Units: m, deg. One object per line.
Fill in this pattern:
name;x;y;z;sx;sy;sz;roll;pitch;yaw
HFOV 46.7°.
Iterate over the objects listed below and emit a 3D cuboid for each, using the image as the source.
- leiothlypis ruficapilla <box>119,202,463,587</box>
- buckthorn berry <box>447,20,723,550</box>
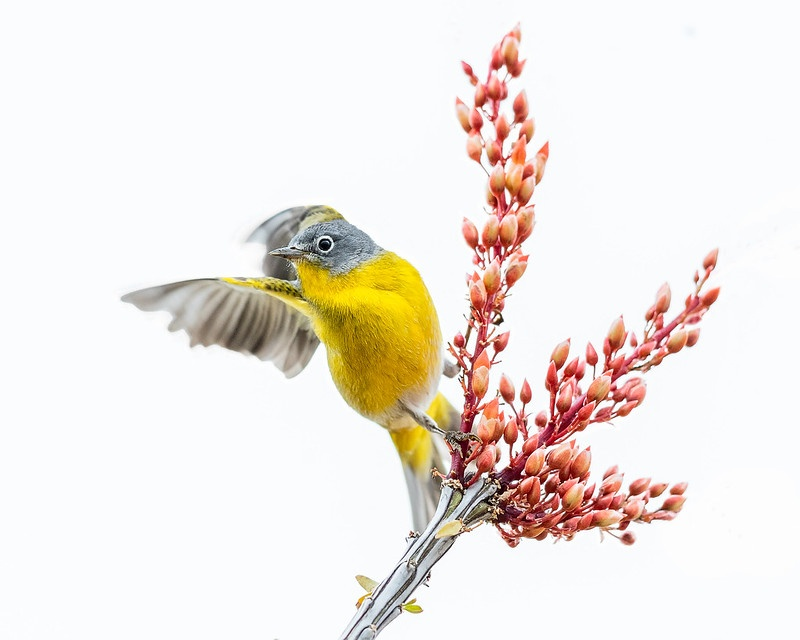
leiothlypis ruficapilla;-0.292;0.110;3.049;1.096;0.829;0.723;22;-46;5
buckthorn berry;0.410;0.147;2.566;0.563;0.520;2.129;10;-87;19
